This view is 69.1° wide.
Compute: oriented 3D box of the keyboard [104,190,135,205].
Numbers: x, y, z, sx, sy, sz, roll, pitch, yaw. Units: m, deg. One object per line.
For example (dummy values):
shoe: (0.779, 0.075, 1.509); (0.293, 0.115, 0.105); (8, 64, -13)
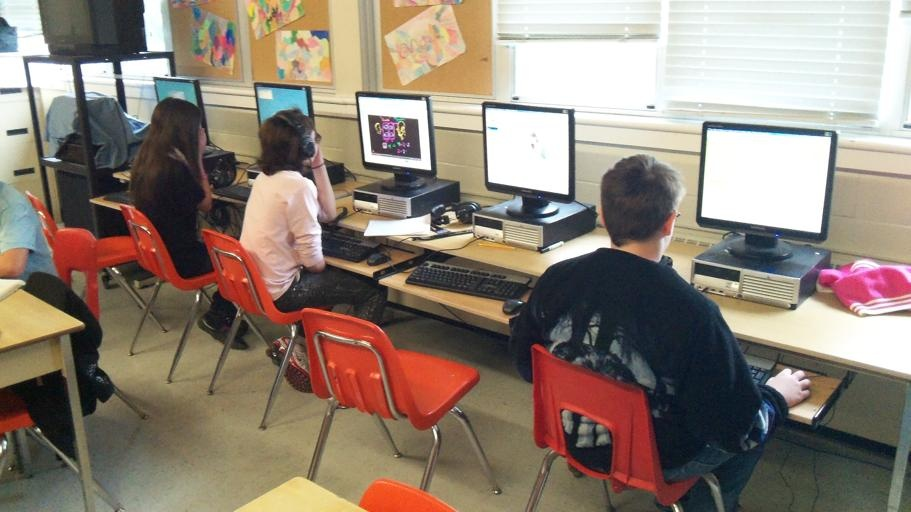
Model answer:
keyboard: (-2.599, -0.448, 5.150); (0.336, 0.070, 0.176); (-7, 18, -39)

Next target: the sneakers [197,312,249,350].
sneakers: (-1.651, 0.542, 4.740); (0.404, 0.258, 0.122); (20, 20, -14)

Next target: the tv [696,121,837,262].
tv: (1.648, -0.339, 3.492); (0.750, 0.642, 0.384); (8, 13, 31)

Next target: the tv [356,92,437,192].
tv: (-0.378, -0.784, 4.483); (0.707, 0.581, 0.386); (7, 21, 34)

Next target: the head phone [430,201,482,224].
head phone: (-0.004, -0.278, 4.295); (0.243, 0.084, 0.178); (-5, 15, -7)

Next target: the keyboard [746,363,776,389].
keyboard: (1.472, 0.576, 3.188); (0.159, 0.035, 0.164); (12, 32, 24)

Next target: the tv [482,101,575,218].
tv: (0.456, -0.581, 4.010); (0.726, 0.626, 0.338); (7, 16, 36)

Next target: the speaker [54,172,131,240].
speaker: (-2.915, -0.416, 5.391); (0.585, 0.482, 0.395); (10, 20, 31)

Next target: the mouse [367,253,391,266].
mouse: (-0.478, 0.023, 4.088); (0.074, 0.038, 0.120); (6, 13, 34)

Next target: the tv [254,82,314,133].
tv: (-1.186, -1.038, 4.627); (0.641, 0.396, 0.059); (8, 21, 28)
